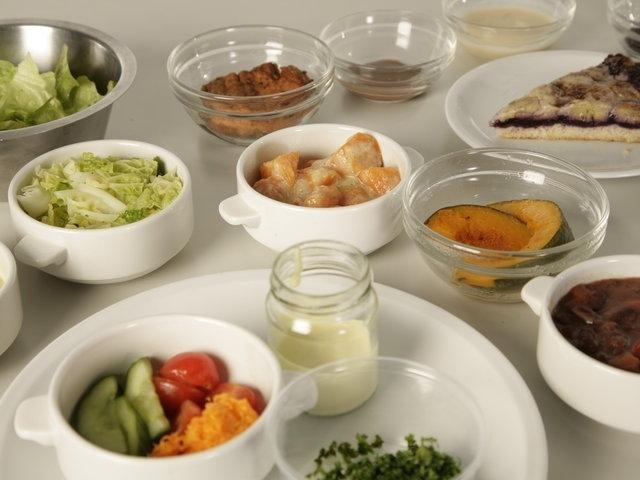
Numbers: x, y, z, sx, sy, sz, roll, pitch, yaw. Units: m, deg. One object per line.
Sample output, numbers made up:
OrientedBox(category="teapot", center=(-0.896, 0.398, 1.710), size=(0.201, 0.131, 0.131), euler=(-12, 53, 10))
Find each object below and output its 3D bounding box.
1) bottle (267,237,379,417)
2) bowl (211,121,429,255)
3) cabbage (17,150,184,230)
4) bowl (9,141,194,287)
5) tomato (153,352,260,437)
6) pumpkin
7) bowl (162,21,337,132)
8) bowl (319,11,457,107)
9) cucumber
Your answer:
OrientedBox(category="bottle", center=(0.003, 0.122, 0.712), size=(0.162, 0.238, 0.166), euler=(-2, 45, 2))
OrientedBox(category="bowl", center=(-0.033, -0.089, 0.981), size=(0.338, 0.133, 0.270), euler=(-23, 46, -24))
OrientedBox(category="cabbage", center=(-0.380, -0.085, 0.956), size=(0.199, 0.069, 0.161), euler=(-27, 48, -33))
OrientedBox(category="bowl", center=(-0.329, -0.023, 0.969), size=(0.244, 0.122, 0.315), euler=(30, 46, 25))
OrientedBox(category="tomato", center=(-0.152, 0.200, 0.707), size=(0.114, 0.053, 0.093), euler=(29, 39, 17))
OrientedBox(category="pumpkin", center=(0.311, -0.034, 0.905), size=(0.192, 0.080, 0.148), euler=(-25, 34, -30))
OrientedBox(category="bowl", center=(-0.170, -0.390, 1.278), size=(0.345, 0.150, 0.349), euler=(0, 42, 0))
OrientedBox(category="bowl", center=(0.171, -0.506, 1.447), size=(0.309, 0.123, 0.307), euler=(-1, 44, 1))
OrientedBox(category="cucumber", center=(-0.239, 0.208, 0.687), size=(0.101, 0.138, 0.031), euler=(33, 9, -4))
